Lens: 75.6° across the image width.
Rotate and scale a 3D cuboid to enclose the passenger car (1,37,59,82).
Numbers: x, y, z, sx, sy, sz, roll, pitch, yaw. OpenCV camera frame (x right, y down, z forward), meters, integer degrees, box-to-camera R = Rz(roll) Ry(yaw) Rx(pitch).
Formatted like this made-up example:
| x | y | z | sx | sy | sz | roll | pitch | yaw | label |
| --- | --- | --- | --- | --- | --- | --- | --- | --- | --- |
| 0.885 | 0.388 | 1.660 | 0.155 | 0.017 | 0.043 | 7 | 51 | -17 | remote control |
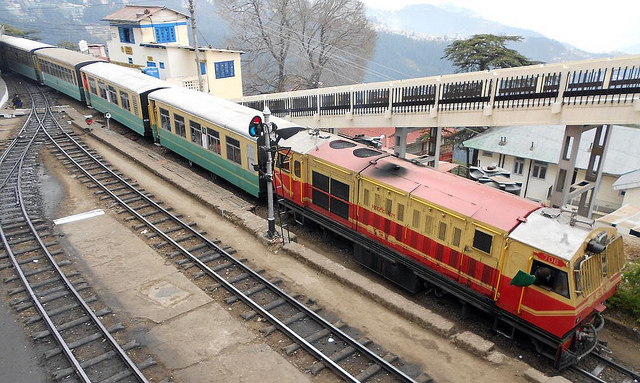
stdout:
| x | y | z | sx | sy | sz | roll | pitch | yaw | label |
| --- | --- | --- | --- | --- | --- | --- | --- | --- | --- |
| -27.226 | -12.202 | 38.447 | 2.599 | 2.726 | 10.884 | -15 | 40 | -41 | passenger car |
